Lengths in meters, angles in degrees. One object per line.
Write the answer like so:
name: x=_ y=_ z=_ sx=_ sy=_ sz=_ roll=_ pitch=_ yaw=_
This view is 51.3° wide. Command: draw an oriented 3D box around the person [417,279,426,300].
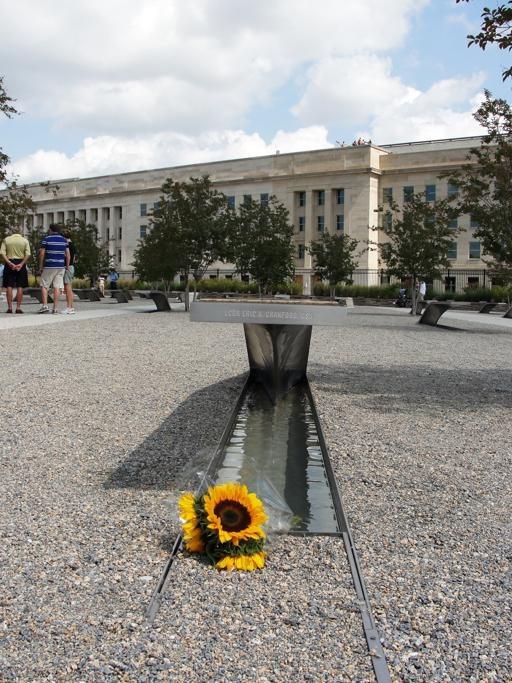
person: x=8.349 y=-2.628 z=27.090 sx=0.422 sy=0.512 sz=1.338 roll=20 pitch=-2 yaw=11
